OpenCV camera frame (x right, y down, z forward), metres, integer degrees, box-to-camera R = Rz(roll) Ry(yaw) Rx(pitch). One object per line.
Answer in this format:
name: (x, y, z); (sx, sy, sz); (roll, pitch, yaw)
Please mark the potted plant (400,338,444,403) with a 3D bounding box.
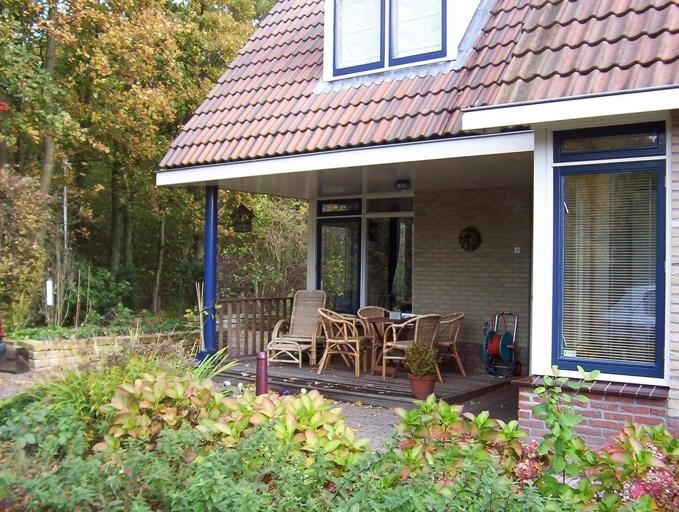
potted plant: (1.110, 1.551, 7.658); (0.407, 0.732, 0.453); (-1, -2, 31)
